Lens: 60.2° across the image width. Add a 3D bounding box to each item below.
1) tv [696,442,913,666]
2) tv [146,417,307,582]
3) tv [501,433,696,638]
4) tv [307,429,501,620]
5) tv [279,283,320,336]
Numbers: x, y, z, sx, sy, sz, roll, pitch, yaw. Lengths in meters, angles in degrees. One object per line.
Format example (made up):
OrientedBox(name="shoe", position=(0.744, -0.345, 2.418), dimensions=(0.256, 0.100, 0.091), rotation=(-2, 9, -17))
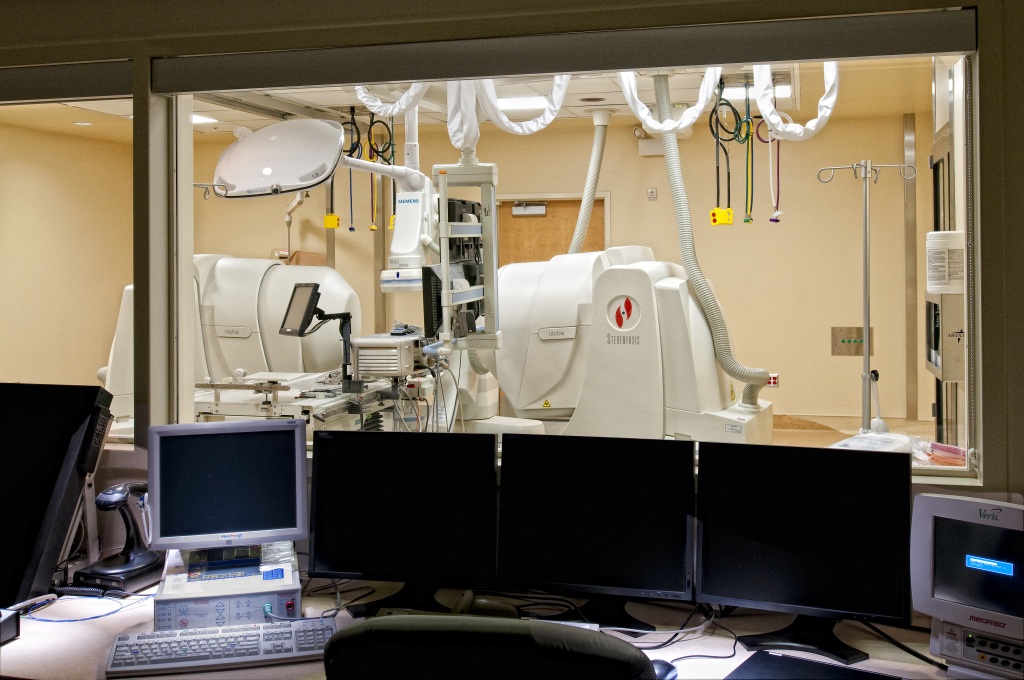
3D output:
OrientedBox(name="tv", position=(0.868, 0.626, 2.655), dimensions=(0.621, 0.607, 0.170), rotation=(-2, -9, 33))
OrientedBox(name="tv", position=(-0.903, 0.506, 2.797), dimensions=(0.512, 0.396, 0.061), rotation=(-1, -4, -1))
OrientedBox(name="tv", position=(0.264, 0.587, 2.680), dimensions=(0.587, 0.508, 0.189), rotation=(1, -5, 11))
OrientedBox(name="tv", position=(-0.332, 0.574, 2.778), dimensions=(0.564, 0.507, 0.230), rotation=(1, -6, 7))
OrientedBox(name="tv", position=(-1.037, -0.132, 4.291), dimensions=(0.172, 0.291, 0.370), rotation=(-1, 10, -15))
